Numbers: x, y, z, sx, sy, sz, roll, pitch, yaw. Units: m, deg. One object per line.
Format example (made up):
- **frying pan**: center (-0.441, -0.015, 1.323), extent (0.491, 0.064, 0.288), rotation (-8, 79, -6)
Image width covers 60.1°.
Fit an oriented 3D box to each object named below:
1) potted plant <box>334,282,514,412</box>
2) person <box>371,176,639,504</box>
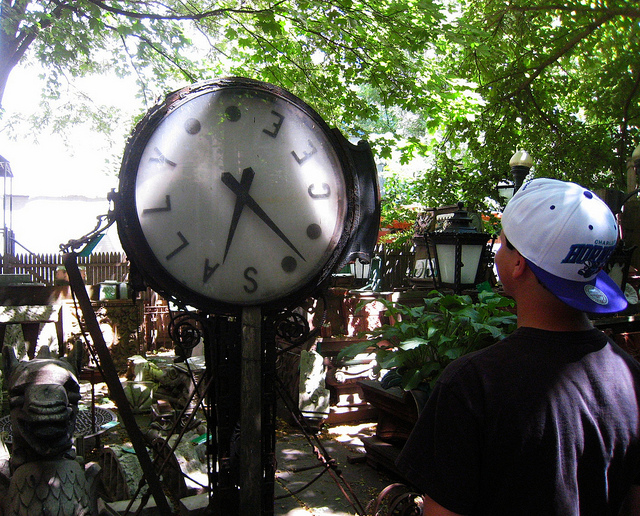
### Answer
- **potted plant**: center (1.094, 0.558, 4.572), extent (1.269, 0.577, 1.274), rotation (-16, 7, -32)
- **person**: center (0.796, 0.315, 2.075), extent (0.989, 1.270, 0.284), rotation (1, -3, -19)
